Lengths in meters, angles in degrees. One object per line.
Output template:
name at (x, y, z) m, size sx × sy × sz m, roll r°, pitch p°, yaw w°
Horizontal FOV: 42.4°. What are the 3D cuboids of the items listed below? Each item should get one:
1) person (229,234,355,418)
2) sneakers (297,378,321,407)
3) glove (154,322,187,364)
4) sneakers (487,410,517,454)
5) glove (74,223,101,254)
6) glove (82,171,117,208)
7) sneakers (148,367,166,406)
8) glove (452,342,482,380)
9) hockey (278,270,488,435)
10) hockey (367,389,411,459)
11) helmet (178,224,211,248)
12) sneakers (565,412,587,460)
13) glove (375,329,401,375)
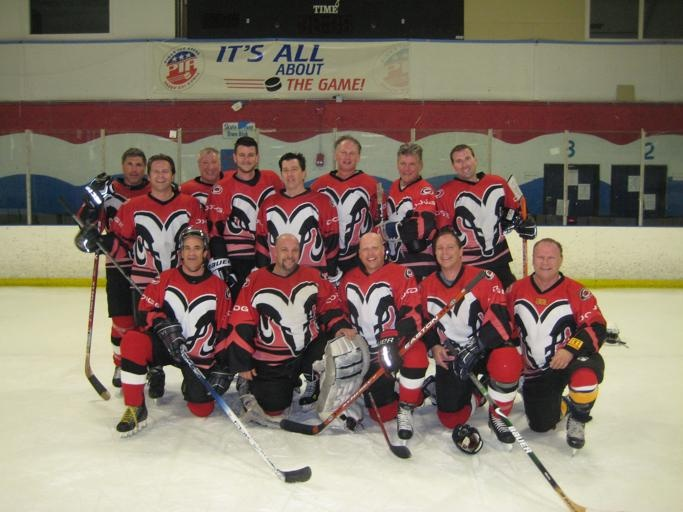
person at (-0.448, 0.694, 8.258) m, size 1.348 × 2.044 × 1.047 m, roll -2°, pitch 6°, yaw -23°
sneakers at (-0.302, 1.296, 8.442) m, size 0.216 × 0.326 × 0.160 m, roll 9°, pitch 4°, yaw -35°
glove at (-1.550, 0.772, 8.130) m, size 0.213 × 0.377 × 0.150 m, roll -31°, pitch -9°, yaw 8°
sneakers at (1.444, 1.562, 7.938) m, size 0.133 × 0.181 × 0.425 m, roll -17°, pitch 30°, yaw -1°
glove at (-2.497, -0.166, 8.608) m, size 0.206 × 0.270 × 0.269 m, roll 23°, pitch 17°, yaw -36°
glove at (-2.437, -0.653, 8.866) m, size 0.248 × 0.340 × 0.134 m, roll 41°, pitch -16°, yaw -1°
sneakers at (-1.799, 1.218, 8.540) m, size 0.110 × 0.241 × 0.358 m, roll 0°, pitch 12°, yaw -3°
glove at (1.153, 0.915, 8.089) m, size 0.212 × 0.350 × 0.132 m, roll 32°, pitch -1°, yaw -8°
hockey at (0.403, 0.860, 8.146) m, size 0.405 × 2.024 × 0.119 m, roll 48°, pitch 4°, yaw -6°
hockey at (0.416, 1.509, 8.000) m, size 0.185 × 0.130 × 0.878 m, roll 12°, pitch 33°, yaw -28°
helmet at (-1.395, -0.227, 8.314) m, size 0.184 × 0.290 × 0.210 m, roll 0°, pitch 4°, yaw -6°
sneakers at (2.109, 1.591, 7.826) m, size 0.118 × 0.177 × 0.386 m, roll 2°, pitch 26°, yaw 11°
glove at (0.432, 0.859, 7.973) m, size 0.101 × 0.344 × 0.232 m, roll -13°, pitch -12°, yaw 33°
